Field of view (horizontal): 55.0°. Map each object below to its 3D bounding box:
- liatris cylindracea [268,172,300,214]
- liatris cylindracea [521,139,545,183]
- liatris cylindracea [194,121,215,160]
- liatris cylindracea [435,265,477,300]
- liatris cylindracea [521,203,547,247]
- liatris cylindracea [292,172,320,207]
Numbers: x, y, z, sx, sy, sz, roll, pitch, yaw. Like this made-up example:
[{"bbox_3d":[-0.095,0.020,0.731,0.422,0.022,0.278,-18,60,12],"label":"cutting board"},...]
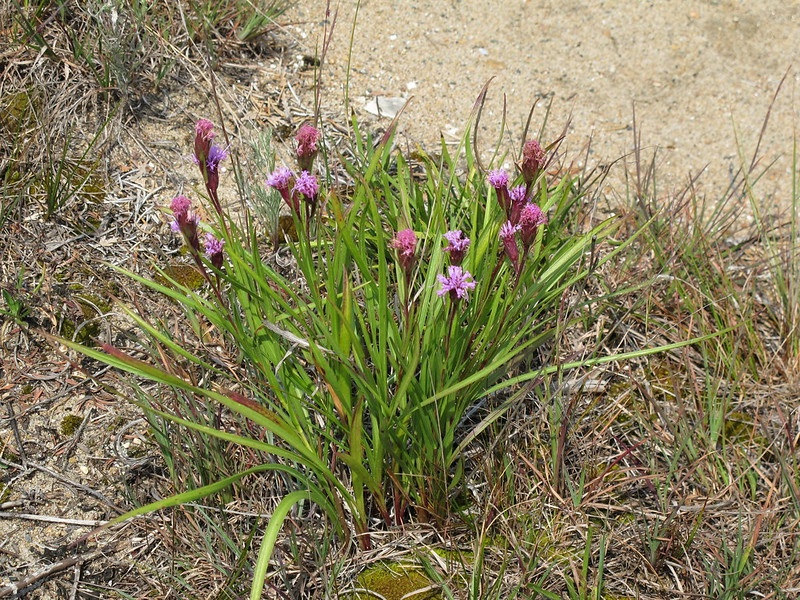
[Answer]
[{"bbox_3d":[-0.473,-0.435,3.217,0.099,0.202,0.109,-20,15,8],"label":"liatris cylindracea"},{"bbox_3d":[0.555,-0.556,3.220,0.088,0.095,0.221,22,62,-31],"label":"liatris cylindracea"},{"bbox_3d":[-0.802,-0.659,3.141,0.073,0.142,0.194,-2,50,-10],"label":"liatris cylindracea"},{"bbox_3d":[0.227,-0.058,3.101,0.121,0.115,0.141,6,26,11],"label":"liatris cylindracea"},{"bbox_3d":[0.535,-0.307,3.190,0.104,0.172,0.093,-9,31,-37],"label":"liatris cylindracea"},{"bbox_3d":[-0.376,-0.462,3.200,0.103,0.119,0.122,-20,40,18],"label":"liatris cylindracea"}]
